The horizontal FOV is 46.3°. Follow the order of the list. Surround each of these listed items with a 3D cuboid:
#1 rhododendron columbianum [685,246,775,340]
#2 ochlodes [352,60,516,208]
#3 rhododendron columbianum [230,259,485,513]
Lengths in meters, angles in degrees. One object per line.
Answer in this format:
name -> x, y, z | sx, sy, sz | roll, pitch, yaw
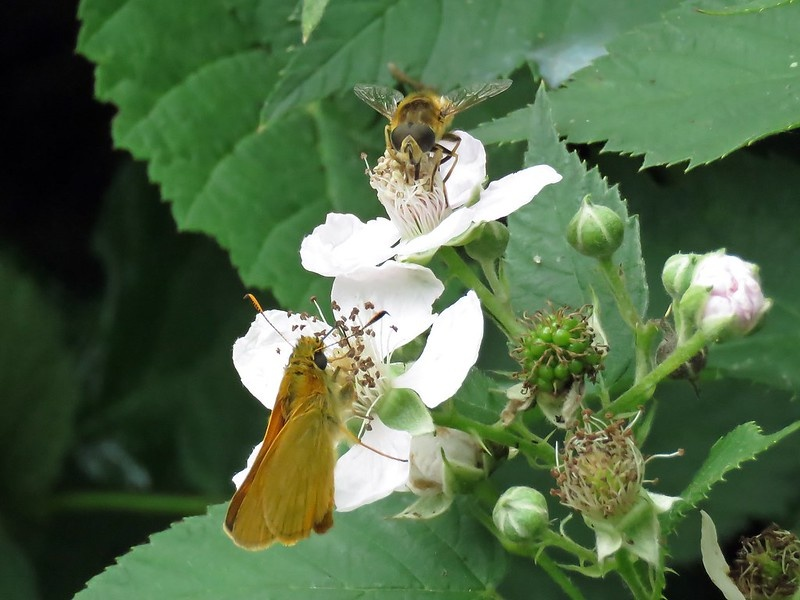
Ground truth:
rhododendron columbianum -> 0.564, -0.001, 1.580 | 0.134, 0.120, 0.142 | -2, 36, 14
ochlodes -> 0.041, -0.332, 1.885 | 0.260, 0.153, 0.234 | 6, 74, 11
rhododendron columbianum -> -0.066, 0.167, 1.630 | 0.159, 0.498, 0.398 | 9, -5, -43
